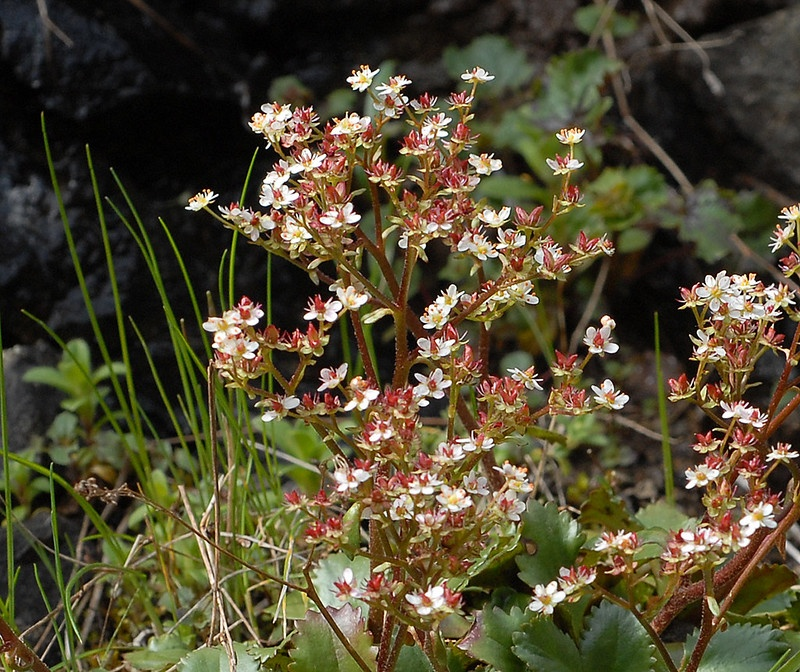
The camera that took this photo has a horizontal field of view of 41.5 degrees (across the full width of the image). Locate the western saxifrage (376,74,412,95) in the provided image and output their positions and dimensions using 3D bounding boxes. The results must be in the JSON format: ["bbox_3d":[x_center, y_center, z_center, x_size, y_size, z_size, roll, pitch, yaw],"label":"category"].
[{"bbox_3d":[-0.022,-0.785,3.328,0.100,0.070,0.109,-1,19,16],"label":"western saxifrage"}]
